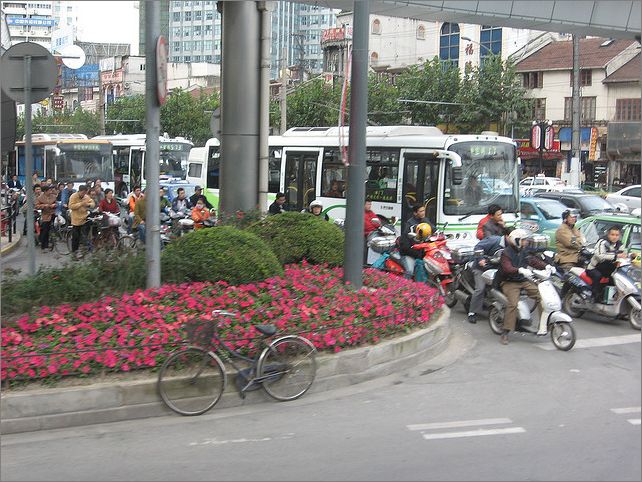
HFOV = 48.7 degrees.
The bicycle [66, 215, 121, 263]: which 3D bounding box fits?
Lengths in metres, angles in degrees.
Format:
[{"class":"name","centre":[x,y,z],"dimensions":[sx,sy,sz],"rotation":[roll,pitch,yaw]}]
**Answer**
[{"class":"bicycle","centre":[-5.657,-0.199,18.109],"dimensions":[1.358,0.967,0.942],"rotation":[12,16,36]}]

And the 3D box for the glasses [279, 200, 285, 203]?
[{"class":"glasses","centre":[-0.884,-0.896,16.192],"dimensions":[0.118,0.053,0.142],"rotation":[-7,-8,-21]}]

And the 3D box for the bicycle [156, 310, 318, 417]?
[{"class":"bicycle","centre":[-0.913,1.396,8.394],"dimensions":[2.202,1.066,0.658],"rotation":[-11,-22,24]}]

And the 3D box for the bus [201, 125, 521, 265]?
[{"class":"bus","centre":[1.086,-1.631,20.670],"dimensions":[3.028,2.912,10.869],"rotation":[-6,9,-30]}]

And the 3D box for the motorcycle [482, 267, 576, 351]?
[{"class":"motorcycle","centre":[3.306,1.014,11.151],"dimensions":[0.762,1.126,2.001],"rotation":[10,-4,-25]}]

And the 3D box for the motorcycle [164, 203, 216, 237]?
[{"class":"motorcycle","centre":[-3.003,-0.456,16.221],"dimensions":[1.808,0.486,0.549],"rotation":[-12,22,-35]}]

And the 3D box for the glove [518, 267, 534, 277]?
[{"class":"glove","centre":[3.148,0.483,10.855],"dimensions":[0.174,0.063,0.133],"rotation":[17,18,-46]}]

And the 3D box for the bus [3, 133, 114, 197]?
[{"class":"bus","centre":[-11.712,-3.469,32.104],"dimensions":[2.946,2.665,8.783],"rotation":[-3,4,-34]}]

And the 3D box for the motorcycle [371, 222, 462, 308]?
[{"class":"motorcycle","centre":[1.748,0.314,13.724],"dimensions":[1.015,1.323,2.402],"rotation":[-10,13,-28]}]

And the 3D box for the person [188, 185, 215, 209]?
[{"class":"person","centre":[-3.069,-1.060,18.418],"dimensions":[0.620,0.470,0.848],"rotation":[-3,13,-15]}]

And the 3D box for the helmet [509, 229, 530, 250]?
[{"class":"helmet","centre":[3.036,-0.047,11.034],"dimensions":[0.342,0.285,0.250],"rotation":[-24,10,12]}]

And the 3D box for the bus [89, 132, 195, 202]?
[{"class":"bus","centre":[-6.632,-2.635,26.049],"dimensions":[2.106,1.665,4.636],"rotation":[-4,8,-22]}]

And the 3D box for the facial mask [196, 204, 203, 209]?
[{"class":"facial mask","centre":[-2.961,-0.832,17.351],"dimensions":[0.130,0.086,0.158],"rotation":[-2,-5,-4]}]

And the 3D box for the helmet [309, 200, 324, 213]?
[{"class":"helmet","centre":[-0.100,-0.689,14.731],"dimensions":[0.286,0.302,0.345],"rotation":[-1,-3,-6]}]
